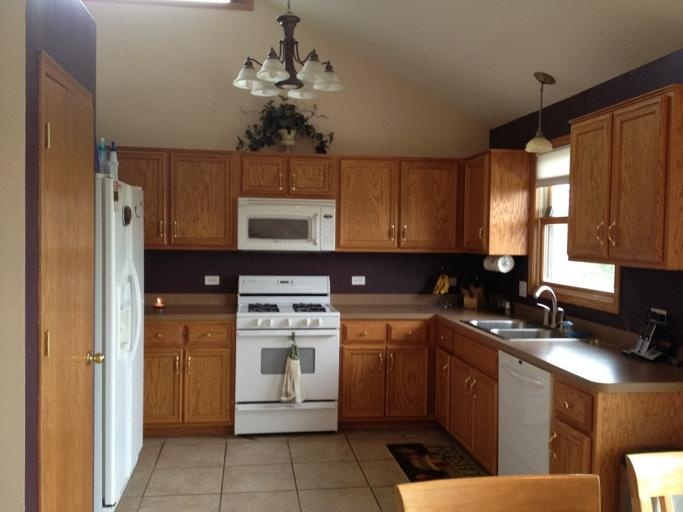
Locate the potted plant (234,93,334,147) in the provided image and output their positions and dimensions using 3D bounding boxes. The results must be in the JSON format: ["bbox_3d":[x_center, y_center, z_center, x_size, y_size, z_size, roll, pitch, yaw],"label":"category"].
[{"bbox_3d":[-0.500,-1.158,5.000,0.863,0.489,0.361,1,9,-1],"label":"potted plant"}]

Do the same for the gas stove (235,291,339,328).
[{"bbox_3d":[-0.459,0.461,4.790,0.816,0.160,0.589,0,9,-11],"label":"gas stove"}]

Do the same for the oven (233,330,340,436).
[{"bbox_3d":[-0.494,1.017,4.818,0.844,0.882,0.623,3,0,-16],"label":"oven"}]

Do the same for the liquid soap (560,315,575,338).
[{"bbox_3d":[1.579,0.505,3.970,0.143,0.152,0.078,-5,6,-41],"label":"liquid soap"}]

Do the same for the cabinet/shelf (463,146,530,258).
[{"bbox_3d":[1.237,-0.429,4.645,0.618,0.857,0.373,7,11,31],"label":"cabinet/shelf"}]

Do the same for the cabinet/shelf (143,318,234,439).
[{"bbox_3d":[-1.228,0.923,4.501,0.907,1.148,0.559,0,-1,-12],"label":"cabinet/shelf"}]

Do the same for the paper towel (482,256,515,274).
[{"bbox_3d":[1.298,0.049,4.774,0.140,0.134,0.292,-6,12,-39],"label":"paper towel"}]
